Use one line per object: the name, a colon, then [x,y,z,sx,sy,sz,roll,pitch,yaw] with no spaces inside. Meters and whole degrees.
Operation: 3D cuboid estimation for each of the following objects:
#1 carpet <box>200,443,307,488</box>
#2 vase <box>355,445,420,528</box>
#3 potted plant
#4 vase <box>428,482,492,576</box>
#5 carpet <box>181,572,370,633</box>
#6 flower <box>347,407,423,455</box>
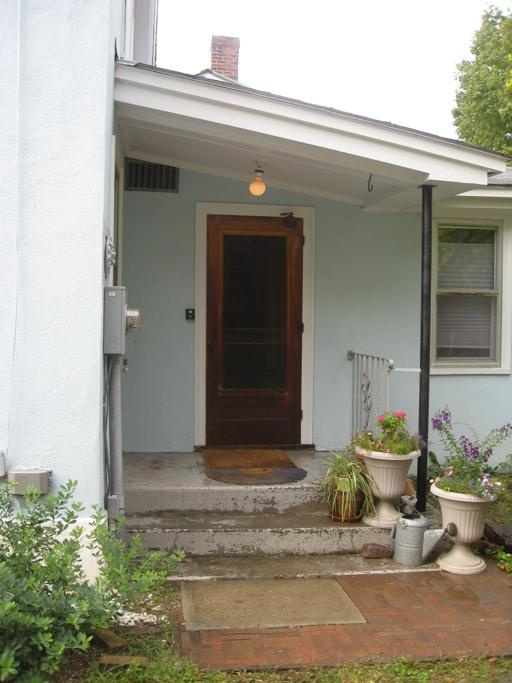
carpet: [-0.025,1.036,4.893,0.818,0.079,1.056,2,0,-8]
vase: [0.917,1.009,4.156,0.491,0.543,0.481,3,-9,-3]
potted plant: [0.647,1.065,4.346,0.399,0.462,0.450,2,-5,-1]
vase: [1.239,1.236,3.919,0.415,0.512,0.450,1,-4,-1]
carpet: [0.066,1.446,3.281,0.958,0.022,0.656,2,0,-8]
flower: [0.991,0.658,4.273,0.334,0.194,0.334,1,0,-23]
